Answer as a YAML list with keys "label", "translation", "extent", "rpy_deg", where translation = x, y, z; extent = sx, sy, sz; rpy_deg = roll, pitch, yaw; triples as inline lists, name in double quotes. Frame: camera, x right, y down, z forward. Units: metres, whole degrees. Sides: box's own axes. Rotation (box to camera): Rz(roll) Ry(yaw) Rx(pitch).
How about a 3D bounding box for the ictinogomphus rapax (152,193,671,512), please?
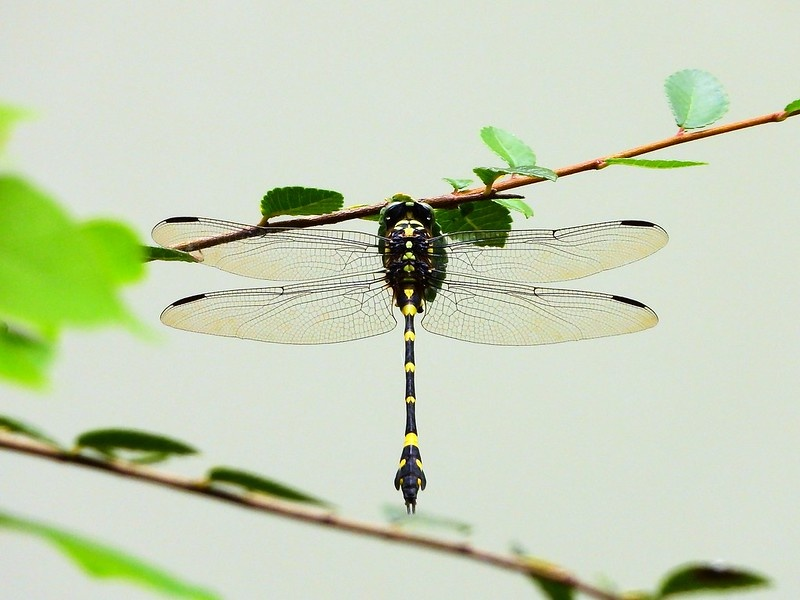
- label: "ictinogomphus rapax"
  translation: [0.028, 0.004, 1.823]
  extent: [0.710, 0.186, 0.461]
  rpy_deg: [-2, -74, -1]
